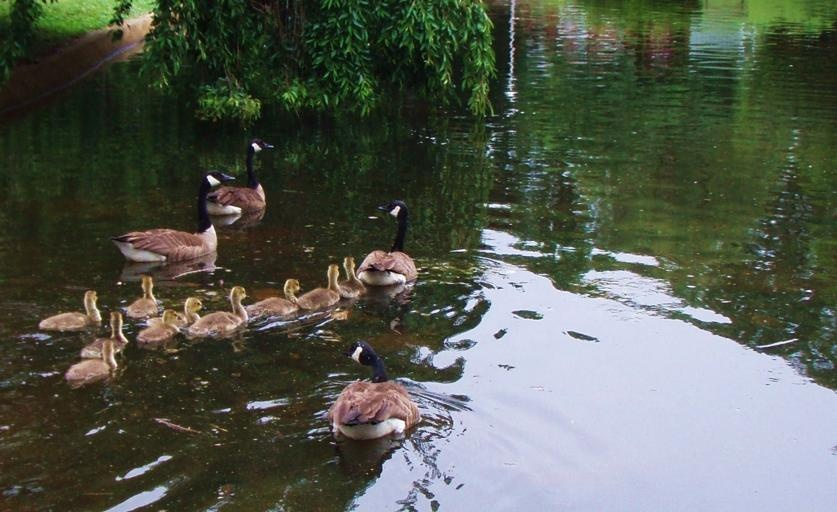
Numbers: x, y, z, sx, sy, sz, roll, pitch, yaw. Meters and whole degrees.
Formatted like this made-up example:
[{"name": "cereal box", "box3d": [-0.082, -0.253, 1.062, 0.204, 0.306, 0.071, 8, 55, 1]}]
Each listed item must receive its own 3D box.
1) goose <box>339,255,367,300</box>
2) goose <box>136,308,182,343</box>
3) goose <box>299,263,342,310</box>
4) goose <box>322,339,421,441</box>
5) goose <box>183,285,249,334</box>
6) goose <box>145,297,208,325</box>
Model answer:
[{"name": "goose", "box3d": [-1.402, 0.464, 17.104, 0.493, 0.818, 0.656, 6, 16, 12]}, {"name": "goose", "box3d": [-4.904, 1.401, 15.240, 0.811, 0.500, 0.484, -21, 38, -37]}, {"name": "goose", "box3d": [-2.059, 0.662, 16.686, 0.549, 0.867, 1.476, 0, 7, 33]}, {"name": "goose", "box3d": [-0.709, 2.380, 13.323, 1.101, 1.130, 1.765, 0, -3, 4]}, {"name": "goose", "box3d": [-3.860, 1.080, 15.678, 1.215, 0.767, 0.719, -13, 22, -34]}, {"name": "goose", "box3d": [-4.741, 1.113, 15.640, 0.957, 0.604, 0.503, -6, 37, -22]}]
